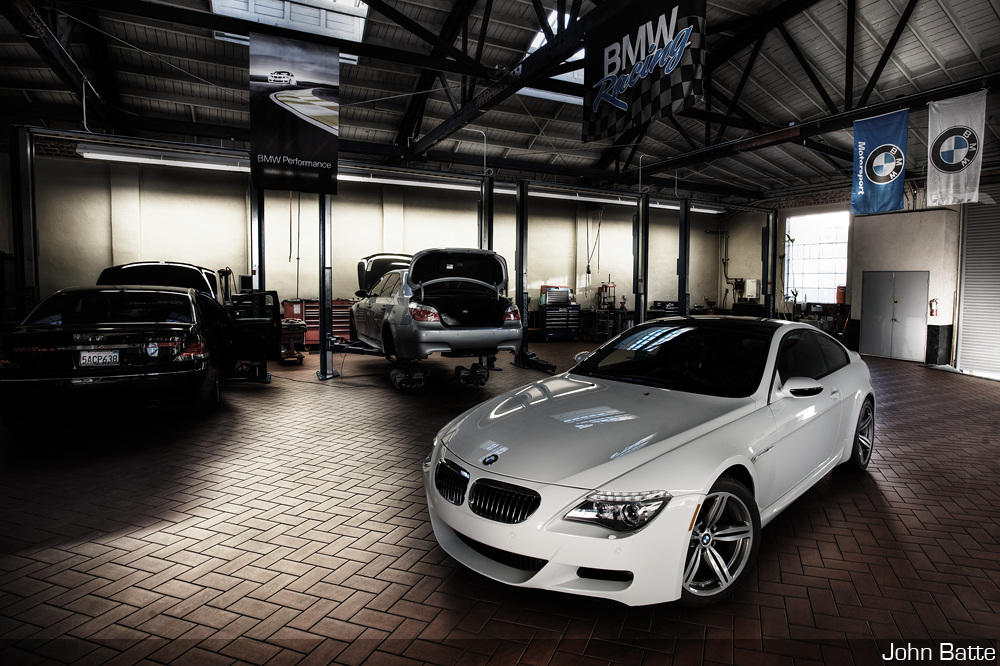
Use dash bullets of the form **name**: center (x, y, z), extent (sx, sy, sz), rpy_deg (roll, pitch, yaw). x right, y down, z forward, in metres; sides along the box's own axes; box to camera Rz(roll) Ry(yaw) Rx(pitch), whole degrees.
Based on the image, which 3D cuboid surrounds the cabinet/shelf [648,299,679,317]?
- **cabinet/shelf**: center (5.473, -0.793, 19.525), extent (0.915, 0.256, 4.166), rpy_deg (1, 9, 14)

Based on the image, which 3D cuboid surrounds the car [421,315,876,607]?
- **car**: center (1.692, 0.992, 5.189), extent (3.701, 1.159, 2.213), rpy_deg (-4, 6, -41)

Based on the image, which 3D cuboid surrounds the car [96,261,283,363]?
- **car**: center (-4.981, -0.525, 11.244), extent (2.373, 1.569, 3.499), rpy_deg (0, -2, 5)

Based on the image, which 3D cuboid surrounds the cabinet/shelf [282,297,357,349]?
- **cabinet/shelf**: center (-4.963, -0.462, 16.239), extent (1.761, 1.455, 0.582), rpy_deg (-1, 34, -18)

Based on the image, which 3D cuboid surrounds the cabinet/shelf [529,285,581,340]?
- **cabinet/shelf**: center (1.728, -0.730, 19.107), extent (1.585, 1.504, 1.290), rpy_deg (-1, 6, -14)
